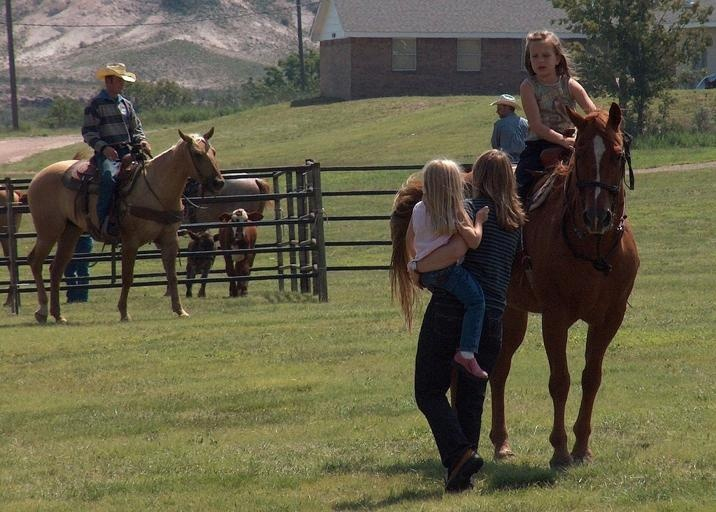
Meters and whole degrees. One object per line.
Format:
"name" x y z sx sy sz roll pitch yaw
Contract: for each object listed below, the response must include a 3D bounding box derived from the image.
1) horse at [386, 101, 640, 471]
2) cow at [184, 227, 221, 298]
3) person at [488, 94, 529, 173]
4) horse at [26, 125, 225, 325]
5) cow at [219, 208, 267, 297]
"horse" 4.368 0.311 31.681 1.903 6.461 7.450 1 2 12
"cow" -4.372 0.039 42.562 0.830 1.275 2.335 12 2 -19
"person" 3.600 -3.064 36.153 0.849 2.026 0.860 -8 23 -41
"horse" -5.816 -0.708 37.922 6.089 4.749 1.819 -2 -1 30
"cow" -3.270 -0.127 42.419 1.179 2.341 3.871 1 0 -3
